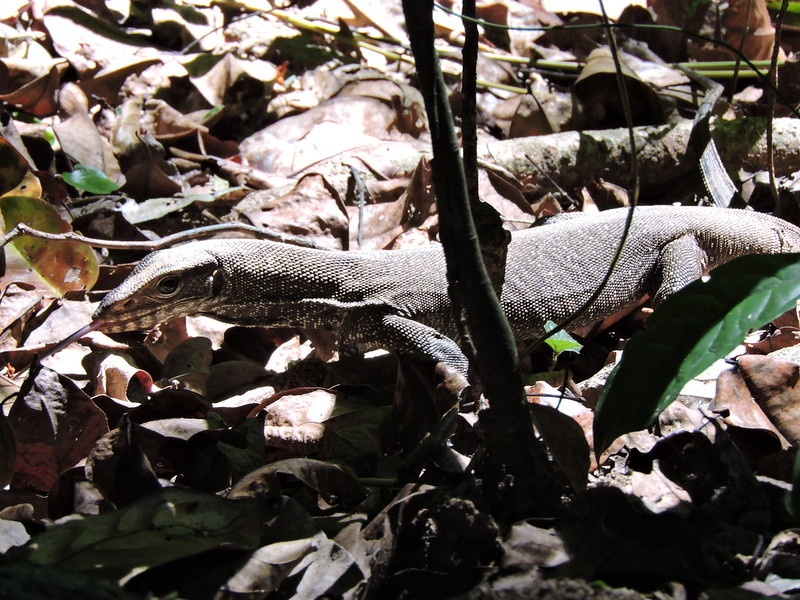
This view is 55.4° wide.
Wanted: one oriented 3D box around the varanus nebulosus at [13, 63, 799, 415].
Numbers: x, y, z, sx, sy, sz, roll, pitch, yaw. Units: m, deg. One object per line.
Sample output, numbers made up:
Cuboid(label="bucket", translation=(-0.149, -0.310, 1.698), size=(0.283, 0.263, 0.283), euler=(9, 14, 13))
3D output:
Cuboid(label="varanus nebulosus", translation=(0.402, -0.171, 2.817), size=(3.161, 0.473, 1.102), euler=(-6, 34, -10))
